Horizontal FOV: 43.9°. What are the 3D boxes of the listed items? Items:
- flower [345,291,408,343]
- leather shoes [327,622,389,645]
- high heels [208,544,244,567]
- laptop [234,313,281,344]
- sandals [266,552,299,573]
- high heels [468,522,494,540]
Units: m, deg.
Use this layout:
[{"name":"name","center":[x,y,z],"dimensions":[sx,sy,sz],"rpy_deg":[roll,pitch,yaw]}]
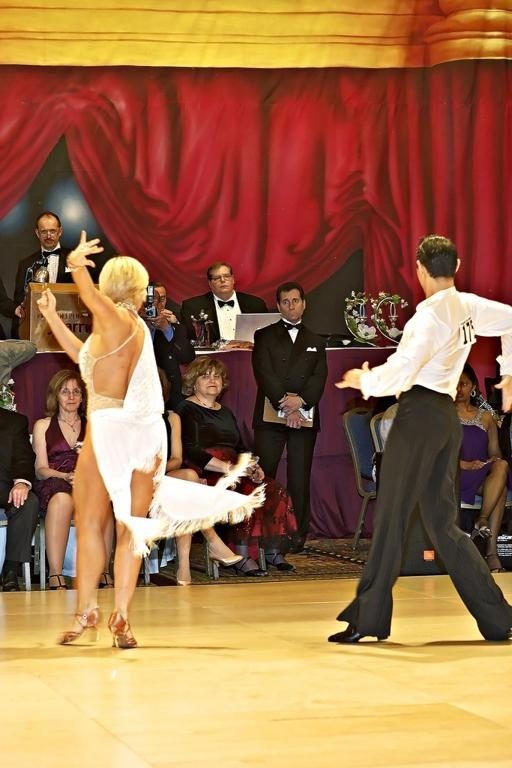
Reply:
[{"name":"flower","center":[1.215,-0.655,6.411],"dimensions":[0.659,0.551,0.149],"rpy_deg":[-2,-2,-15]},{"name":"leather shoes","center":[0.425,1.018,2.608],"dimensions":[0.253,0.081,0.087],"rpy_deg":[4,-6,-9]},{"name":"high heels","center":[-0.222,1.146,4.221],"dimensions":[0.256,0.097,0.130],"rpy_deg":[1,3,37]},{"name":"laptop","center":[-0.013,-0.537,5.780],"dimensions":[0.437,0.259,0.289],"rpy_deg":[1,7,1]},{"name":"sandals","center":[0.223,1.300,4.690],"dimensions":[0.272,0.166,0.094],"rpy_deg":[-3,-2,37]},{"name":"high heels","center":[1.678,1.110,4.737],"dimensions":[0.170,0.099,0.160],"rpy_deg":[-2,25,16]}]
